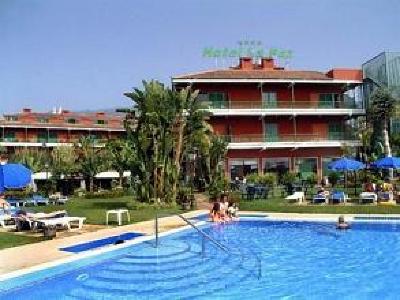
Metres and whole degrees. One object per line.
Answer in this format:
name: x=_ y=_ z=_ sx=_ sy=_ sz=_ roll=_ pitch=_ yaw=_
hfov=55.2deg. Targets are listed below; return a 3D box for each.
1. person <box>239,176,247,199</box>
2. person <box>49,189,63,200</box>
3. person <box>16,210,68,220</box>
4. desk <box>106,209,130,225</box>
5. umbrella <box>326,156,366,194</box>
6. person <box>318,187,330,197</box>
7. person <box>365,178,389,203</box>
person: x=3.518 y=3.100 z=31.121 sx=1.000 sy=1.395 sz=1.012 roll=1 pitch=5 yaw=2
person: x=-11.820 y=3.653 z=31.364 sx=0.935 sy=0.530 sz=0.758 roll=-1 pitch=-6 yaw=37
person: x=-7.398 y=3.070 z=17.928 sx=1.347 sy=0.262 sz=0.883 roll=-3 pitch=-7 yaw=44
desk: x=-4.170 y=3.247 z=18.784 sx=1.053 sy=0.765 sz=1.121 roll=-2 pitch=-1 yaw=15
umbrella: x=9.236 y=1.893 z=24.735 sx=2.513 sy=2.406 sz=2.584 roll=3 pitch=4 yaw=43
person: x=7.755 y=2.615 z=23.947 sx=0.666 sy=0.660 sz=0.883 roll=2 pitch=7 yaw=17
person: x=10.942 y=2.380 z=23.835 sx=1.265 sy=1.009 sz=3.081 roll=3 pitch=8 yaw=26
